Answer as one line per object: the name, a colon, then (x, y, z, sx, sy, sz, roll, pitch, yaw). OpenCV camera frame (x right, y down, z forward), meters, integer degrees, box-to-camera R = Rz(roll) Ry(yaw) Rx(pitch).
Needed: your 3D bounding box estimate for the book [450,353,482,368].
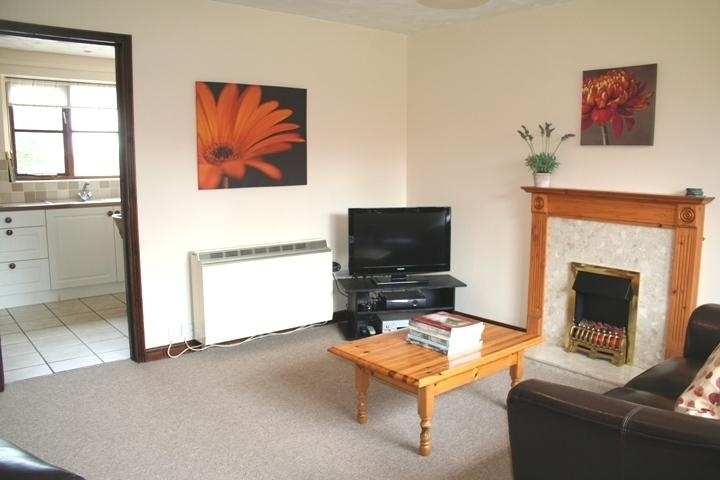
book: (0.698, 0.802, 3.326, 0.326, 0.025, 0.105, -6, 8, -37)

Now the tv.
tv: (0.375, 0.024, 5.060, 1.192, 0.715, 0.287, -2, 6, -24)

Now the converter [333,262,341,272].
converter: (-0.254, 0.282, 5.225, 0.106, 0.094, 0.076, -3, 11, -17)

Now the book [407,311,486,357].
book: (0.654, 0.657, 3.538, 0.349, 0.143, 0.344, -5, 10, -42)

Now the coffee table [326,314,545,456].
coffee table: (0.578, 1.009, 3.686, 1.412, 0.503, 0.859, -6, 9, -35)

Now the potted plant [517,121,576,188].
potted plant: (1.686, -0.802, 4.580, 0.549, 0.595, 0.282, 4, 10, 30)

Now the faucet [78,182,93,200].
faucet: (-3.597, -0.643, 6.427, 0.156, 0.234, 0.349, -5, 9, -28)
